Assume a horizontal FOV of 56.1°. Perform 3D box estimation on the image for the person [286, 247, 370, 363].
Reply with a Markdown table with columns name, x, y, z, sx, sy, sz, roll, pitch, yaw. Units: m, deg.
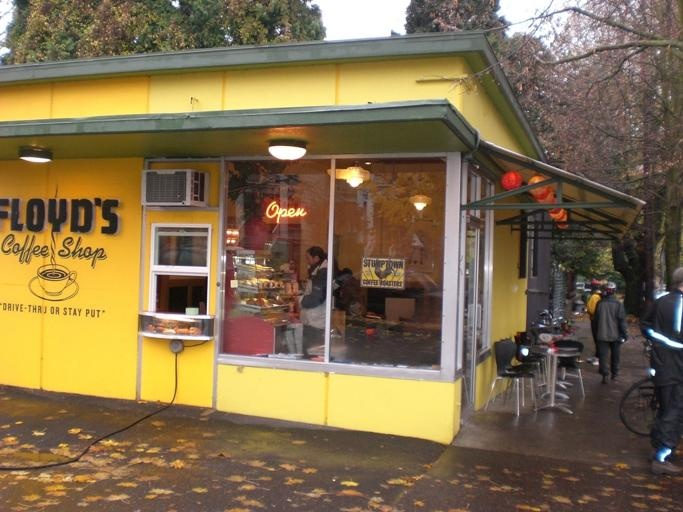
| name | x | y | z | sx | sy | sz | roll | pitch | yaw |
| --- | --- | --- | --- | --- | --- | --- | --- | --- | --- |
| person | -0.141 | 0.699 | 9.229 | 1.018 | 1.416 | 0.915 | 1 | 4 | 19 |

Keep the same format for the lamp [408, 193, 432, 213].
| name | x | y | z | sx | sy | sz | roll | pitch | yaw |
| --- | --- | --- | --- | --- | --- | --- | --- | --- | --- |
| lamp | 1.048 | -0.718 | 8.592 | 0.354 | 0.276 | 0.209 | 0 | -1 | 7 |

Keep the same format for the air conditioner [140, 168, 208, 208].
| name | x | y | z | sx | sy | sz | roll | pitch | yaw |
| --- | --- | --- | --- | --- | --- | --- | --- | --- | --- |
| air conditioner | -2.425 | -1.003 | 9.358 | 0.778 | 0.583 | 0.586 | 4 | 2 | 21 |

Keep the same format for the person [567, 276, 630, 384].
| name | x | y | z | sx | sy | sz | roll | pitch | yaw |
| --- | --- | --- | --- | --- | --- | --- | --- | --- | --- |
| person | 5.220 | 1.505 | 13.099 | 0.917 | 2.373 | 1.117 | 0 | 0 | 27 |

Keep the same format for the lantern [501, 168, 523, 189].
| name | x | y | z | sx | sy | sz | roll | pitch | yaw |
| --- | --- | --- | --- | --- | --- | --- | --- | --- | --- |
| lantern | 2.456 | -1.096 | 9.296 | 0.246 | 0.274 | 0.797 | 4 | 8 | 12 |

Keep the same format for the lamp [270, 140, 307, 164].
| name | x | y | z | sx | sy | sz | roll | pitch | yaw |
| --- | --- | --- | --- | --- | --- | --- | --- | --- | --- |
| lamp | -0.710 | -1.425 | 8.512 | 0.497 | 0.242 | 0.246 | 2 | 8 | -4 |

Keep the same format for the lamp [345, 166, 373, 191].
| name | x | y | z | sx | sy | sz | roll | pitch | yaw |
| --- | --- | --- | --- | --- | --- | --- | --- | --- | --- |
| lamp | 0.203 | -1.092 | 8.871 | 0.338 | 0.291 | 0.079 | -1 | 6 | 21 |
